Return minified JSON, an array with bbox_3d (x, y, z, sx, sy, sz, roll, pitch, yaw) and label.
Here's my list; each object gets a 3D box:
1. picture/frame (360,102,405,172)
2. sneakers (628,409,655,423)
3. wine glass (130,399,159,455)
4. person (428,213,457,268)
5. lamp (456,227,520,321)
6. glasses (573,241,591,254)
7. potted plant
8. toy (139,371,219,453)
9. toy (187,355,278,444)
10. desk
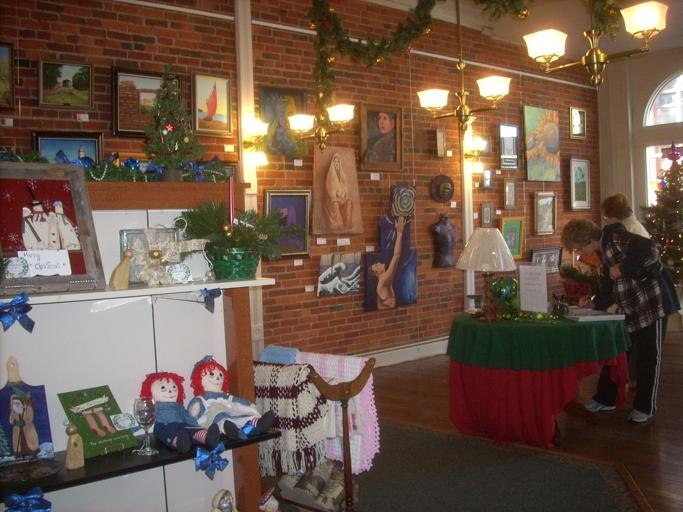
[{"bbox_3d":[0.495,-1.596,7.151,0.871,1.145,0.082,-1,1,-44],"label":"picture/frame"},{"bbox_3d":[2.682,1.442,4.864,0.168,0.075,0.116,-3,46,32],"label":"sneakers"},{"bbox_3d":[-0.985,0.805,2.664,0.107,0.254,0.332,-3,3,-22],"label":"wine glass"},{"bbox_3d":[1.473,-0.228,7.805,0.426,0.771,0.172,-3,3,-29],"label":"person"},{"bbox_3d":[1.232,0.131,4.629,0.467,0.746,0.563,-1,3,19],"label":"lamp"},{"bbox_3d":[2.397,-0.081,5.392,0.142,0.176,0.054,7,-7,11],"label":"glasses"},{"bbox_3d":[-0.611,-0.087,3.006,0.541,0.435,0.610,-2,-5,36],"label":"potted plant"},{"bbox_3d":[-0.837,0.758,2.689,0.425,0.369,0.217,-5,-8,40],"label":"toy"},{"bbox_3d":[-0.621,0.726,2.786,0.536,0.323,0.392,10,1,44],"label":"toy"},{"bbox_3d":[1.687,0.969,4.922,1.514,1.081,1.606,-3,3,-33],"label":"desk"}]
